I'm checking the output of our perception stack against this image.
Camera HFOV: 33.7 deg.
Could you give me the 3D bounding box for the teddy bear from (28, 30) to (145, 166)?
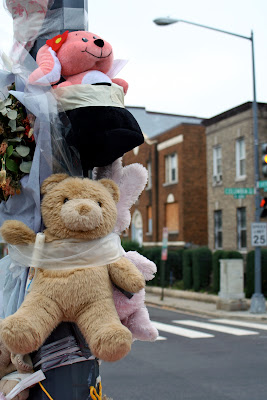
[{"bbox_3d":[-0.244,-0.572,2.331,0.536,0.718,0.363,1,-20,-32],"label":"teddy bear"}]
